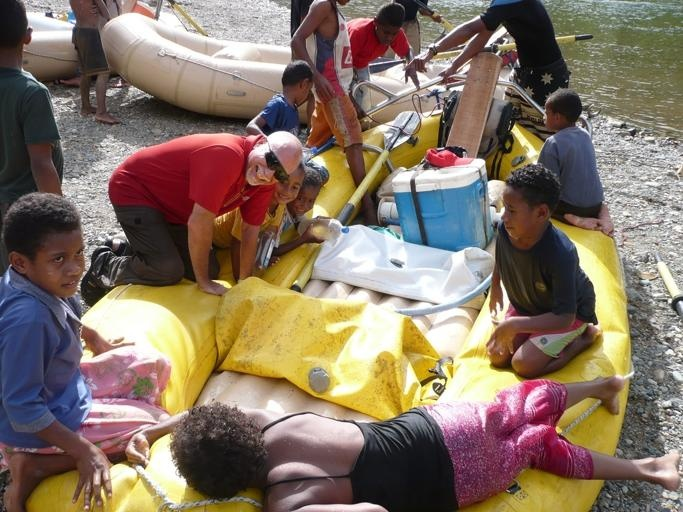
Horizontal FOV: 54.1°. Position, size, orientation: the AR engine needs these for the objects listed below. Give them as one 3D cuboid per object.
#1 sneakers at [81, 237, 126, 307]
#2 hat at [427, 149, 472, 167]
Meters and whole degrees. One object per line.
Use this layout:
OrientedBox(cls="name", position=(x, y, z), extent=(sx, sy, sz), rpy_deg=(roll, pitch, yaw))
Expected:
OrientedBox(cls="sneakers", position=(-1.361, 0.103, 3.842), extent=(0.133, 0.408, 0.178), rpy_deg=(22, 0, 23))
OrientedBox(cls="hat", position=(0.728, -0.673, 4.614), extent=(0.248, 0.088, 0.154), rpy_deg=(1, 17, 11))
